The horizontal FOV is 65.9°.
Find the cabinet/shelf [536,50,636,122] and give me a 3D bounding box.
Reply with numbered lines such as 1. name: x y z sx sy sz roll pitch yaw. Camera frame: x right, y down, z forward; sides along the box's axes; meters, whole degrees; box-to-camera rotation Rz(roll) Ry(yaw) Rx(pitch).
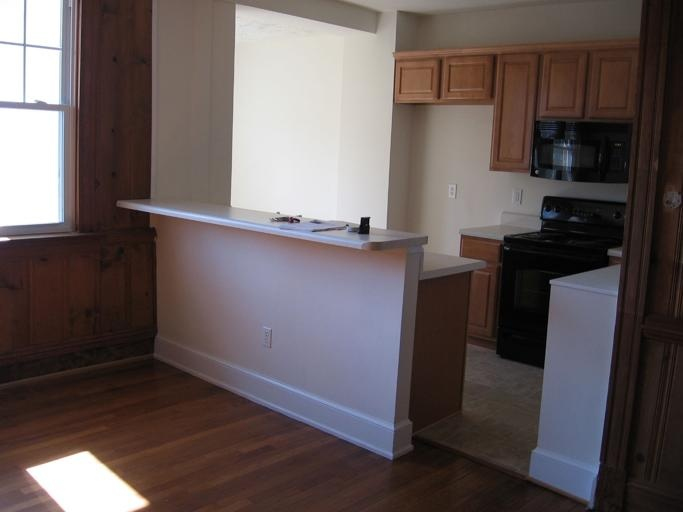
1. cabinet/shelf: 2.075 -1.453 4.321 0.803 0.603 0.441 12 31 36

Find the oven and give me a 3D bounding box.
1. oven: 1.804 0.329 4.485 0.776 1.140 0.751 6 9 31

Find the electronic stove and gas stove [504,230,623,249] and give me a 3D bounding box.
1. electronic stove and gas stove: 1.843 -0.114 4.351 0.844 0.118 0.488 11 14 34

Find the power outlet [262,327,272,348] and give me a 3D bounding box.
1. power outlet: -0.474 0.519 3.371 0.015 0.159 0.117 -8 14 -40
